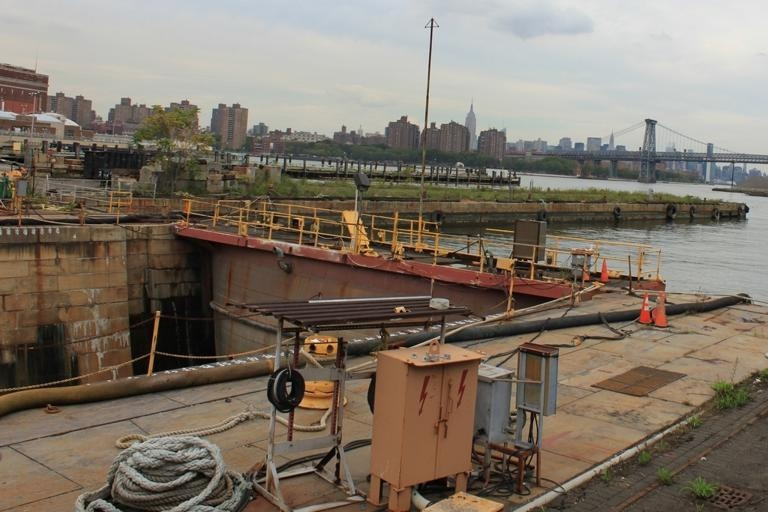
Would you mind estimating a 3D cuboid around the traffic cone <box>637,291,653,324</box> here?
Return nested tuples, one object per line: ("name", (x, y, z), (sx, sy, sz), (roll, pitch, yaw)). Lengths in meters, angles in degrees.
("traffic cone", (6.653, 1.293, 17.704), (0.335, 0.761, 0.775), (4, 7, 20))

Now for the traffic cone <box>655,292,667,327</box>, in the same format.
("traffic cone", (6.928, 1.335, 17.444), (0.341, 0.780, 0.817), (4, 7, 21))
